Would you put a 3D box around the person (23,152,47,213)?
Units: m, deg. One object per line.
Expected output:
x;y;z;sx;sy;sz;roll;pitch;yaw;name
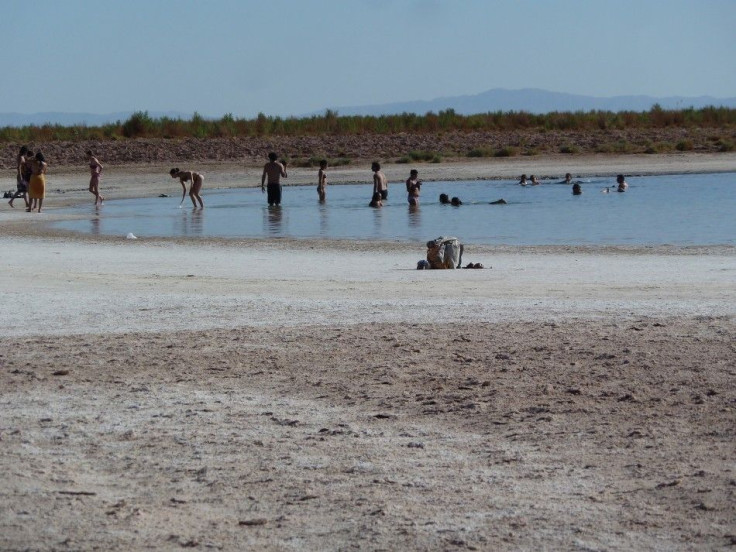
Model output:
-8.068;-2.332;30.416;0.453;1.254;3.441;-1;1;-15;person
